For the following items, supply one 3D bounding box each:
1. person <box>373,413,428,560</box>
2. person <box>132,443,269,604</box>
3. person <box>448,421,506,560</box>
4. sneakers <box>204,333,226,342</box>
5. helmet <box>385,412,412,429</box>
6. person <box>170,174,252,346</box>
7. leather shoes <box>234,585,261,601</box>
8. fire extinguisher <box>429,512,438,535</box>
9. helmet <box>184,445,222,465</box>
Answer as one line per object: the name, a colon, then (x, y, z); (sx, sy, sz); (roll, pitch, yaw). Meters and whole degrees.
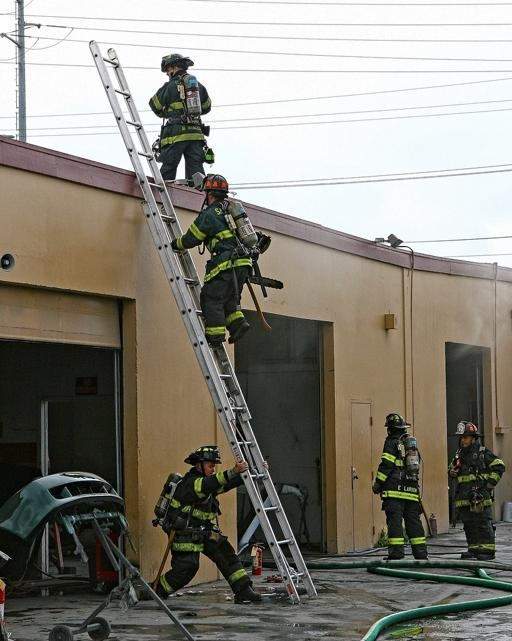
person: (1.495, 1.733, 11.894); (0.513, 1.533, 0.604); (-6, -9, 6)
person: (-0.478, 1.628, 8.997); (1.235, 1.598, 0.771); (-3, -3, 1)
person: (2.373, 1.812, 12.168); (0.546, 1.463, 0.702); (-2, -9, -15)
sneakers: (-0.321, 0.146, 9.521); (0.103, 0.074, 0.221); (-13, -13, 41)
helmet: (1.502, 1.084, 12.200); (0.183, 0.133, 0.250); (3, -13, -31)
person: (-0.293, -0.422, 9.564); (0.520, 1.228, 0.735); (-12, -11, 38)
leather shoes: (-0.067, 2.214, 9.206); (0.261, 0.123, 0.099); (-3, -3, 10)
fire extinguisher: (2.343, 2.673, 14.880); (0.075, 0.298, 0.374); (-7, -10, 15)
helmet: (-0.441, 1.093, 9.207); (0.231, 0.132, 0.181); (-7, -4, 14)
